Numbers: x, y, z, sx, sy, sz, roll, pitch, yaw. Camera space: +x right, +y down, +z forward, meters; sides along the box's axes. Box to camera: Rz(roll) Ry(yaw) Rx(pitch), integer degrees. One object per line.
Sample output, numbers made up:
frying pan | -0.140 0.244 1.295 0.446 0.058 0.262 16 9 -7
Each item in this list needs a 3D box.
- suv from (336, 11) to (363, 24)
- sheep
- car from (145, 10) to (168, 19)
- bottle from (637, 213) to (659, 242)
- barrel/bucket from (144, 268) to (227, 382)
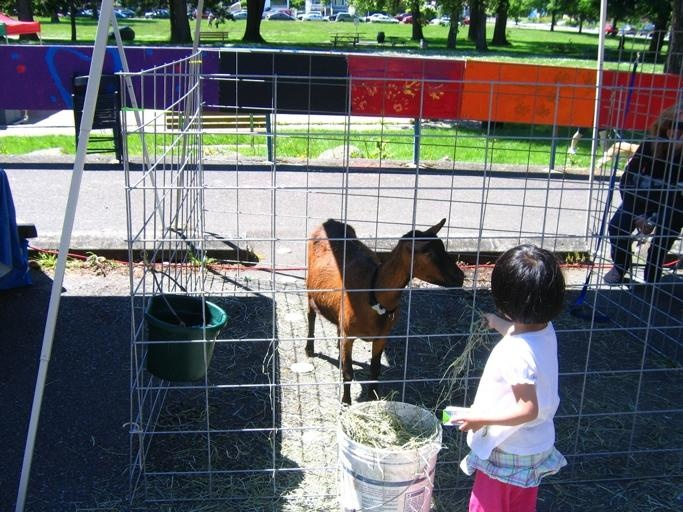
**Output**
suv | 0.633 -22.585 66.596 2.429 1.058 5.001 -4 16 -18
sheep | 0.253 0.435 6.357 0.714 1.853 2.288 -5 16 -26
car | -16.103 -21.213 61.652 1.939 0.708 2.942 -3 16 -13
bottle | 2.958 -0.279 6.842 0.108 0.142 0.353 11 54 11
barrel/bucket | -1.195 0.624 5.425 0.613 0.890 0.790 -1 16 -5
